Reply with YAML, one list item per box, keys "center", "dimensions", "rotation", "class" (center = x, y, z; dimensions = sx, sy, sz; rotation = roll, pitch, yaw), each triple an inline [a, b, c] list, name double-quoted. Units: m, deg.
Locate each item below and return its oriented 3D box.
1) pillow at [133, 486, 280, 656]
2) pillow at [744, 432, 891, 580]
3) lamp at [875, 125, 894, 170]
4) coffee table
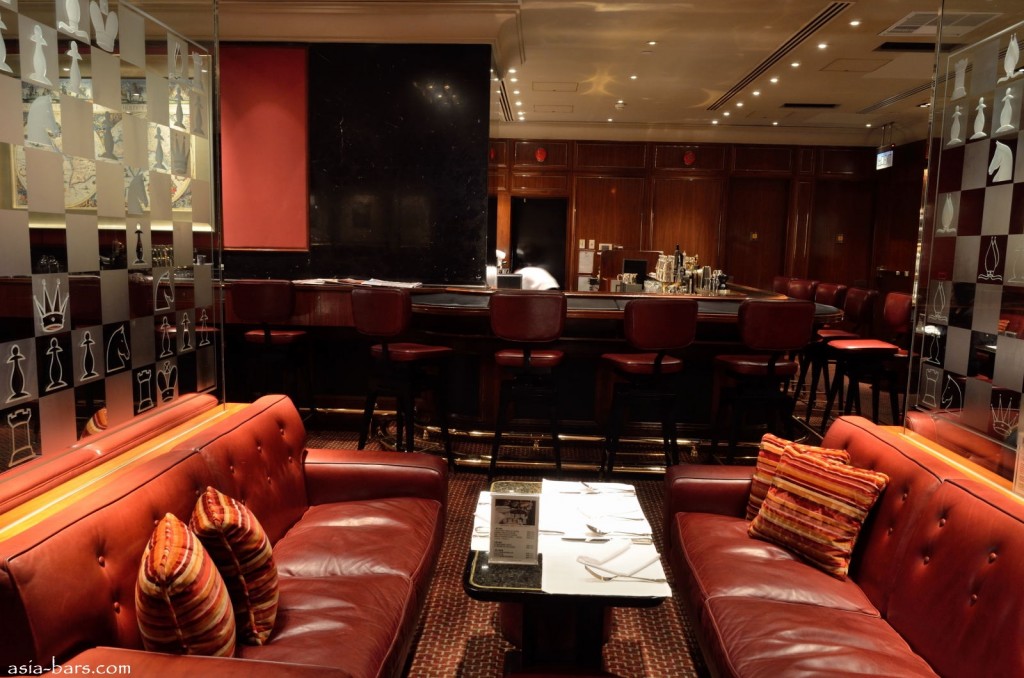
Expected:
- center: [-1.097, 0.844, 2.515]
  dimensions: [0.293, 0.505, 0.535]
  rotation: [-12, 0, 0]
  class: "pillow"
- center: [1.397, 0.780, 3.208]
  dimensions: [0.278, 0.499, 0.560]
  rotation: [5, 2, -36]
  class: "pillow"
- center: [5.324, -2.733, 10.079]
  dimensions: [0.219, 0.642, 1.128]
  rotation: [5, 10, 27]
  class: "lamp"
- center: [0.246, 0.977, 3.017]
  dimensions: [0.805, 0.302, 1.252]
  rotation: [2, 13, 3]
  class: "coffee table"
